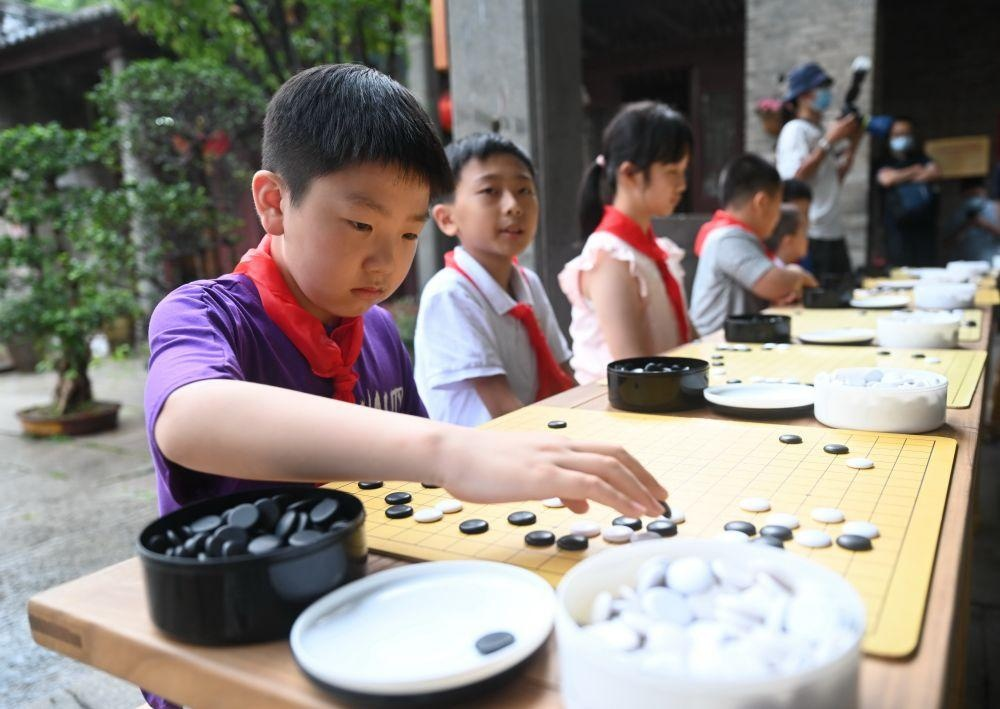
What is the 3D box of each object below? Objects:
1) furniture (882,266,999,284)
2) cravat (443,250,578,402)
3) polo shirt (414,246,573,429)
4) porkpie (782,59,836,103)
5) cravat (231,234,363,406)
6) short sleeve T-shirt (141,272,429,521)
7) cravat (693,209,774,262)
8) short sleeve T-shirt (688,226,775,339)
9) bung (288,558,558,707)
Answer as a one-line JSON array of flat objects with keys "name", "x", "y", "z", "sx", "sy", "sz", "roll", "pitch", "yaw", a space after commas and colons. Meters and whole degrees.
[{"name": "furniture", "x": 2.462, "y": -0.440, "z": 4.577, "sx": 0.549, "sy": 0.113, "sz": 0.320, "roll": -2, "pitch": 0, "yaw": 33}, {"name": "cravat", "x": -0.005, "y": -0.099, "z": 2.981, "sx": 0.414, "sy": 0.541, "sz": 0.183, "roll": -30, "pitch": 5, "yaw": -23}, {"name": "polo shirt", "x": -0.035, "y": -0.077, "z": 2.926, "sx": 0.397, "sy": 0.616, "sz": 0.779, "roll": 0, "pitch": 12, "yaw": 37}, {"name": "porkpie", "x": 2.037, "y": -1.812, "z": 5.518, "sx": 0.328, "sy": 0.180, "sz": 0.232, "roll": -8, "pitch": 28, "yaw": 39}, {"name": "cravat", "x": -0.432, "y": -0.073, "z": 1.727, "sx": 0.192, "sy": 0.340, "sz": 0.274, "roll": 3, "pitch": 26, "yaw": 11}, {"name": "short sleeve T-shirt", "x": -0.401, "y": 0.076, "z": 1.548, "sx": 0.374, "sy": 0.422, "sz": 0.644, "roll": 1, "pitch": 7, "yaw": 35}, {"name": "cravat", "x": 1.089, "y": -0.574, "z": 4.114, "sx": 0.221, "sy": 0.200, "sz": 0.164, "roll": 11, "pitch": 4, "yaw": 2}, {"name": "short sleeve T-shirt", "x": 1.138, "y": -0.347, "z": 4.029, "sx": 0.350, "sy": 0.612, "sz": 0.604, "roll": 0, "pitch": 13, "yaw": 15}, {"name": "bung", "x": -0.104, "y": 0.380, "z": 1.137, "sx": 0.357, "sy": 0.099, "sz": 0.224, "roll": -5, "pitch": 9, "yaw": -16}]
